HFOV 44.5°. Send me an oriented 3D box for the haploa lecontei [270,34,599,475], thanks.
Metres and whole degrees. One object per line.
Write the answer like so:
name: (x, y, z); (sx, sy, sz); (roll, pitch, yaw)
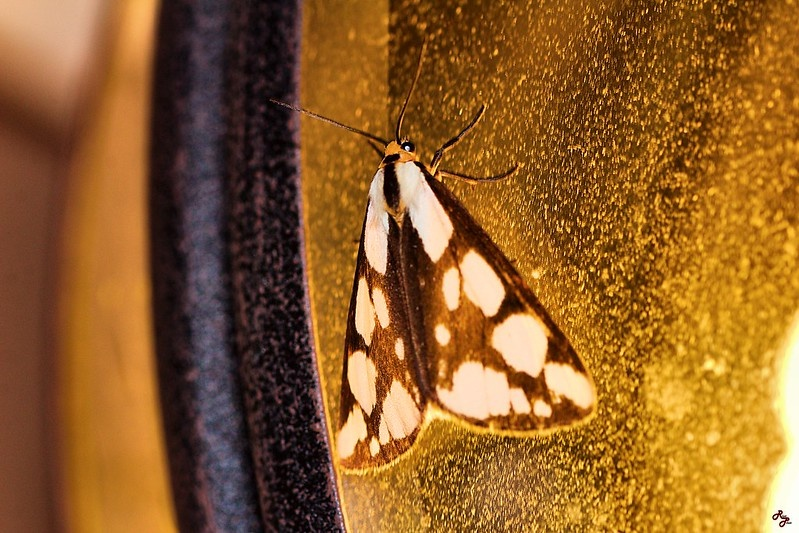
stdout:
haploa lecontei: (0.053, 0.040, 1.148); (0.267, 0.366, 0.303); (-5, -10, -5)
